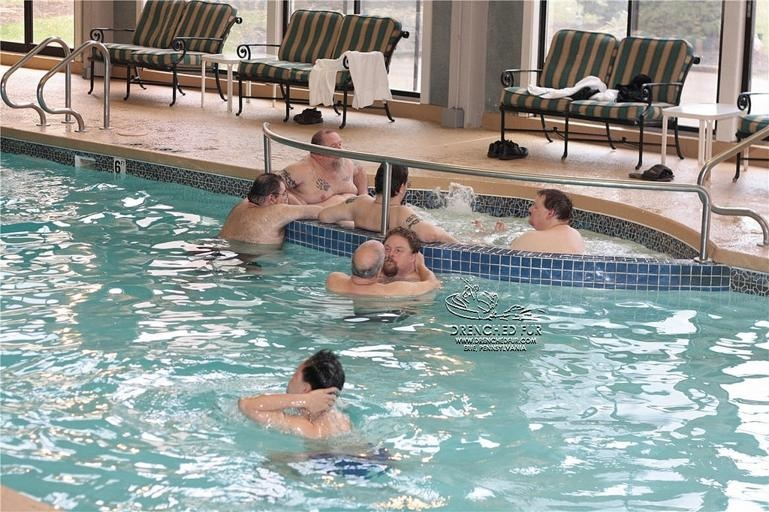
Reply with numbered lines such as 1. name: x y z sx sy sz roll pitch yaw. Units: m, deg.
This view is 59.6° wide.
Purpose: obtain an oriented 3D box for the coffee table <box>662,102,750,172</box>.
1. coffee table: 4.091 -1.495 8.187 0.761 0.478 1.348 -3 6 44

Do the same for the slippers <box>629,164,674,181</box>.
1. slippers: 3.242 -0.963 7.943 0.497 0.129 0.311 1 5 -16

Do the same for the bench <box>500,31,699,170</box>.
1. bench: 3.111 -2.096 9.198 2.830 1.356 1.866 12 25 33

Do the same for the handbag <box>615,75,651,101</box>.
1. handbag: 3.366 -2.213 8.824 0.430 0.404 0.588 6 10 15

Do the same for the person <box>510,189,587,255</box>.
1. person: 1.587 -0.344 6.014 0.920 0.468 0.561 -15 21 -39

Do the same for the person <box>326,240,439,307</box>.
1. person: 0.026 0.076 5.694 1.014 0.334 1.106 5 11 11

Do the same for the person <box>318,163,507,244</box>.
1. person: 0.113 -0.512 6.205 0.545 0.612 1.683 -15 22 -39
